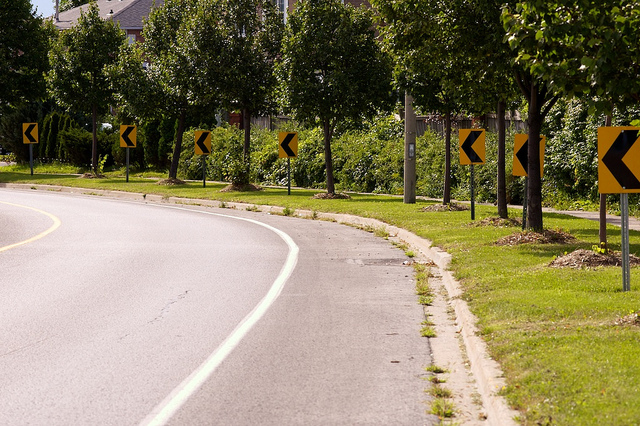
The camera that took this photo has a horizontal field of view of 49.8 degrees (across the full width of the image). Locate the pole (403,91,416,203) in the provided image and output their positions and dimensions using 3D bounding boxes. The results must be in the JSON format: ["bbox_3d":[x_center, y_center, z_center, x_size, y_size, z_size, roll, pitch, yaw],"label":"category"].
[{"bbox_3d":[3.197,-2.179,24.484,0.634,3.370,0.482,2,1,9],"label":"pole"}]

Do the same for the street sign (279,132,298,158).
[{"bbox_3d":[-1.287,-2.761,27.980,0.972,1.271,0.123,0,18,1],"label":"street sign"}]

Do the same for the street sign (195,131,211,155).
[{"bbox_3d":[-5.512,-3.326,32.439,0.719,1.062,0.457,2,4,-14],"label":"street sign"}]

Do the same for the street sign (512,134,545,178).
[{"bbox_3d":[4.795,-1.321,15.821,0.668,0.954,0.613,5,4,15],"label":"street sign"}]

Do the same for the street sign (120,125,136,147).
[{"bbox_3d":[-10.067,-4.029,36.119,0.748,1.116,0.982,2,5,-17],"label":"street sign"}]

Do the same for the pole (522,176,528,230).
[{"bbox_3d":[4.776,-0.240,16.012,0.094,1.224,0.699,4,4,16],"label":"pole"}]

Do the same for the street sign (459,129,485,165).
[{"bbox_3d":[4.270,-1.860,19.296,0.901,1.323,0.057,1,0,11],"label":"street sign"}]
